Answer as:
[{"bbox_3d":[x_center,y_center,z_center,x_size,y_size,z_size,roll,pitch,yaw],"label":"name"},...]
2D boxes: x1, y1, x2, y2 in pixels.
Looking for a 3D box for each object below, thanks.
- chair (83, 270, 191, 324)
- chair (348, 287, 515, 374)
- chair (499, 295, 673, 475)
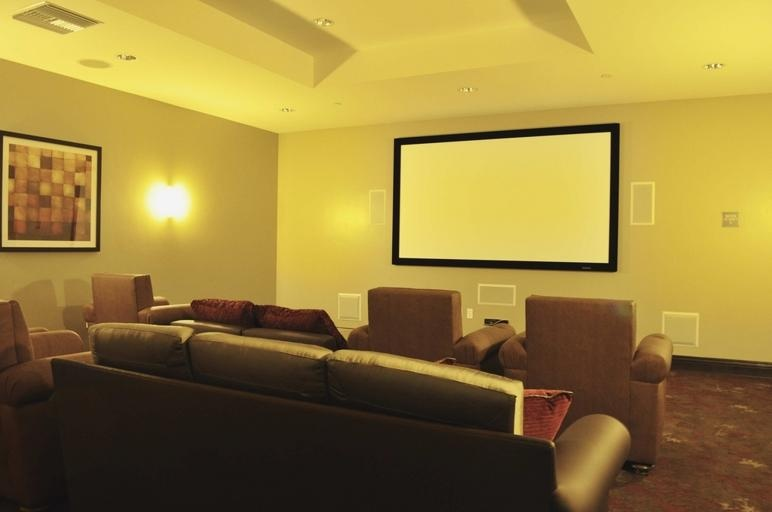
[{"bbox_3d":[-2.429,0.469,5.481,0.970,0.636,0.551,1,5,32],"label":"chair"},{"bbox_3d":[0.377,0.731,4.980,1.367,0.916,0.776,1,4,35],"label":"chair"},{"bbox_3d":[1.615,0.870,4.497,1.210,1.118,0.922,1,2,29],"label":"chair"}]
